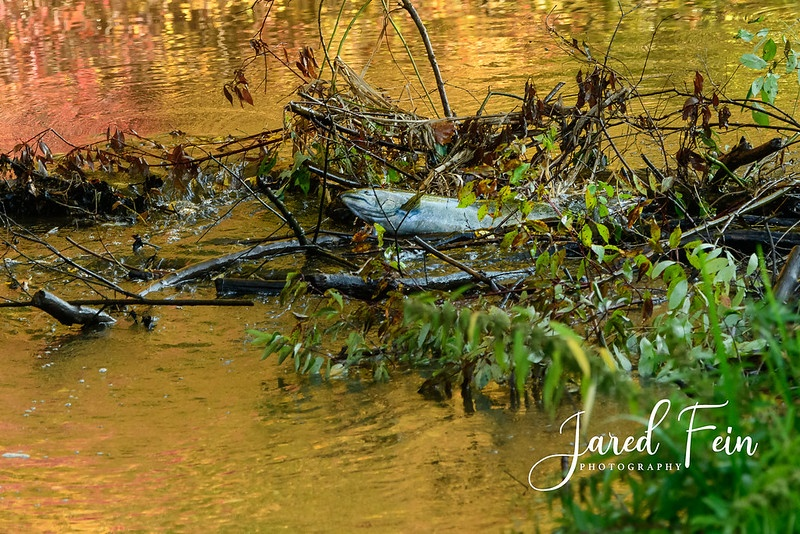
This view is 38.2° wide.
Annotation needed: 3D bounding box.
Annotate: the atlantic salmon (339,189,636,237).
[{"bbox_3d":[0.781,-0.473,10.124,2.478,0.370,0.492,-1,-8,-13],"label":"atlantic salmon"}]
